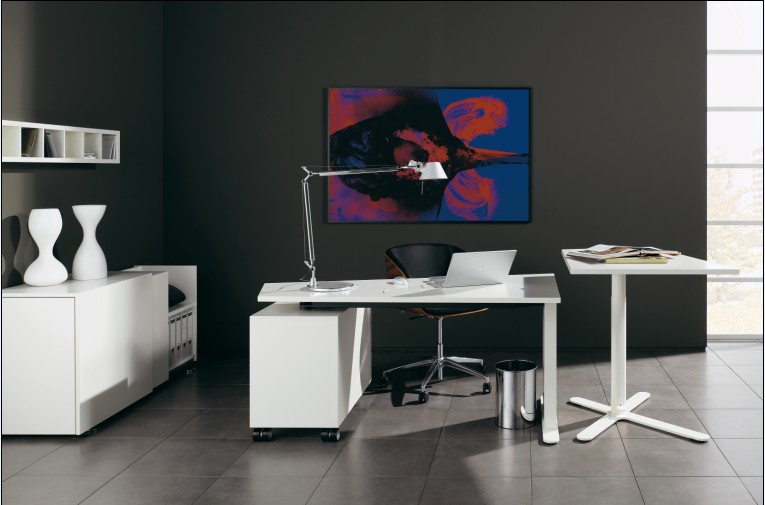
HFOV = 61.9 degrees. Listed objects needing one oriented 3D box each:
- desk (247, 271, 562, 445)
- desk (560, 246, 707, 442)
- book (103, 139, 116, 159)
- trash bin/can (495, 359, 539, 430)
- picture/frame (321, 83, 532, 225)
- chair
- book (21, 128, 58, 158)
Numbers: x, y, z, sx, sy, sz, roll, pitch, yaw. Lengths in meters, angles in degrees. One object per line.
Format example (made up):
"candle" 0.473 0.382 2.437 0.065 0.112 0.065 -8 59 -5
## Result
"desk" 0.241 0.714 5.029 2.234 1.004 1.105 2 14 11
"desk" 2.089 0.739 4.939 1.308 1.396 1.566 0 4 8
"book" -2.462 -0.929 5.709 0.163 0.170 0.042 5 -3 -38
"trash bin/can" 0.904 1.062 4.817 0.441 0.458 0.449 -1 1 7
"picture/frame" 0.509 -1.026 6.312 1.535 0.963 0.030 0 -1 1
"chair" 0.398 0.577 5.888 1.300 1.577 1.212 2 -8 -15
"book" -2.705 -0.855 4.982 0.103 0.242 0.293 -1 -1 19
